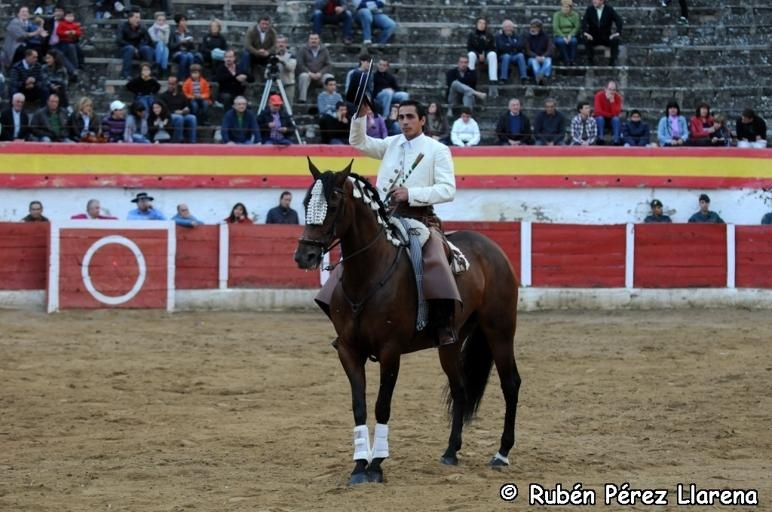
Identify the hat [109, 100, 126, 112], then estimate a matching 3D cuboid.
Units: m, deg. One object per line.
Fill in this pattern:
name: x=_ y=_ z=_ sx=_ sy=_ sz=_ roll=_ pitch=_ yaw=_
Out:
hat: x=-5.401 y=-2.933 z=33.646 sx=0.420 sy=0.213 sz=0.311 roll=-2 pitch=9 yaw=26
